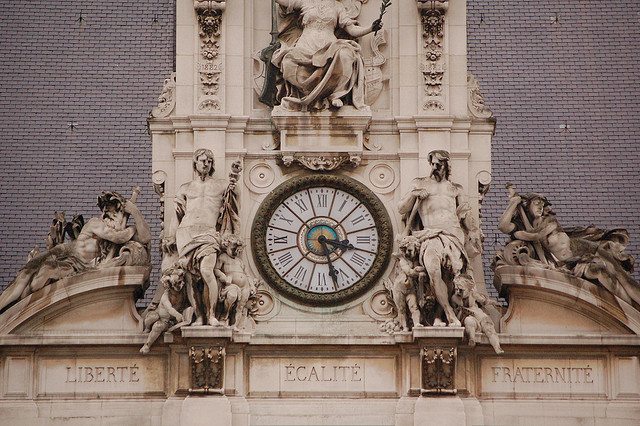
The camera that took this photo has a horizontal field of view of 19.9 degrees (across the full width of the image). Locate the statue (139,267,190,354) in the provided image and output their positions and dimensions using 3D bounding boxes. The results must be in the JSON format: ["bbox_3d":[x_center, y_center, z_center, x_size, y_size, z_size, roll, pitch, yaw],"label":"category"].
[{"bbox_3d":[-3.589,2.118,42.842,0.874,1.612,1.650,12,-48,-12],"label":"statue"}]

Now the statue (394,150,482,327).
[{"bbox_3d":[2.936,0.612,43.210,1.955,4.161,1.187,-1,-8,-21],"label":"statue"}]

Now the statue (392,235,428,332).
[{"bbox_3d":[2.163,1.635,43.002,0.858,2.244,0.814,-1,-3,33],"label":"statue"}]

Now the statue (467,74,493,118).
[{"bbox_3d":[3.850,-2.861,44.383,0.578,1.078,0.637,-3,-46,2],"label":"statue"}]

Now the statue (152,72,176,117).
[{"bbox_3d":[-3.764,-2.864,44.225,0.565,1.066,0.676,4,-46,-5],"label":"statue"}]

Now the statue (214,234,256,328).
[{"bbox_3d":[-2.040,1.600,43.081,0.971,2.248,0.749,7,-12,-44],"label":"statue"}]
